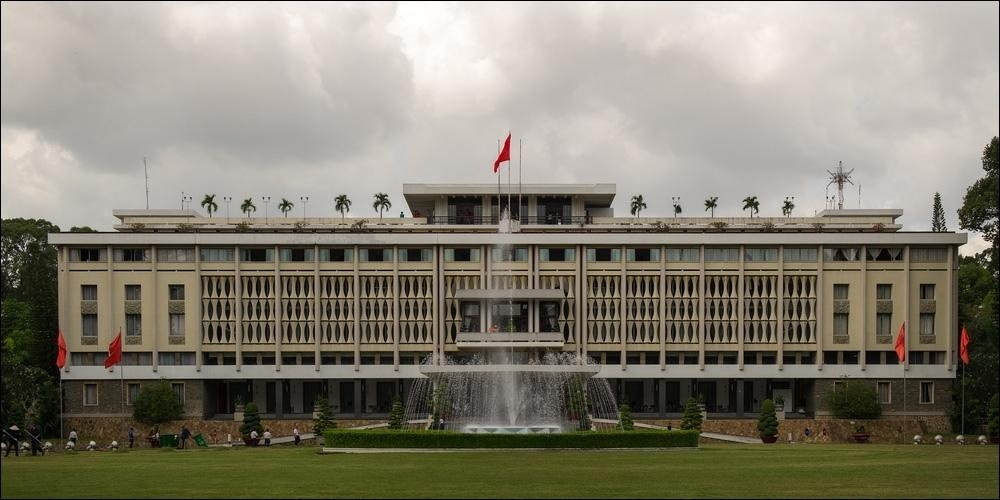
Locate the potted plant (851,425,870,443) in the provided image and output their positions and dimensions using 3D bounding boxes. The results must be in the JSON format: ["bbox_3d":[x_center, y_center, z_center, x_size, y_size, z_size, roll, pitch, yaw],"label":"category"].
[{"bbox_3d":[51.979,25.977,290.644,2.322,2.780,2.897,-4,-14,10],"label":"potted plant"}]

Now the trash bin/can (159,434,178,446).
[{"bbox_3d":[-46.660,26.768,288.422,2.048,1.151,1.782,0,-6,-4],"label":"trash bin/can"}]
